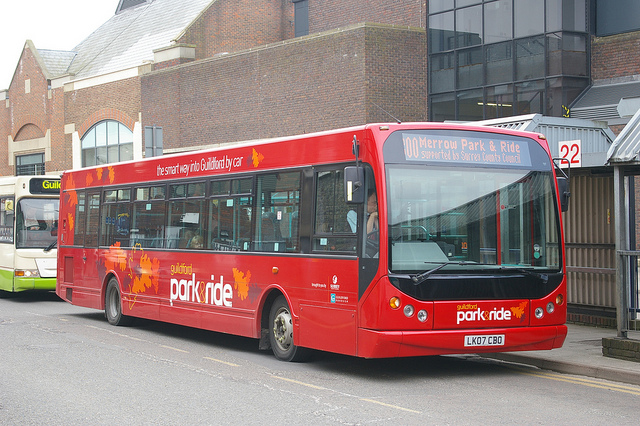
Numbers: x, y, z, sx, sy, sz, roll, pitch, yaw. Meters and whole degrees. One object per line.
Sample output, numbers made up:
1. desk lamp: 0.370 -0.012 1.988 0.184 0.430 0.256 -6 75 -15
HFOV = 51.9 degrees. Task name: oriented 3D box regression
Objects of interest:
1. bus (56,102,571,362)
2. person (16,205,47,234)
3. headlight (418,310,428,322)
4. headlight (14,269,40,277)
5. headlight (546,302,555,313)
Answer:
1. bus: -1.862 0.731 14.948 13.971 4.356 3.650 -4 -4 42
2. person: -9.504 0.241 21.695 0.821 0.547 0.819 6 -9 -45
3. headlight: 1.585 1.597 10.316 0.135 0.261 0.220 2 3 -2
4. headlight: -9.471 1.951 21.395 0.754 0.240 0.128 0 -2 -19
5. headlight: 3.849 1.585 11.060 0.167 0.179 0.038 1 -2 -37
